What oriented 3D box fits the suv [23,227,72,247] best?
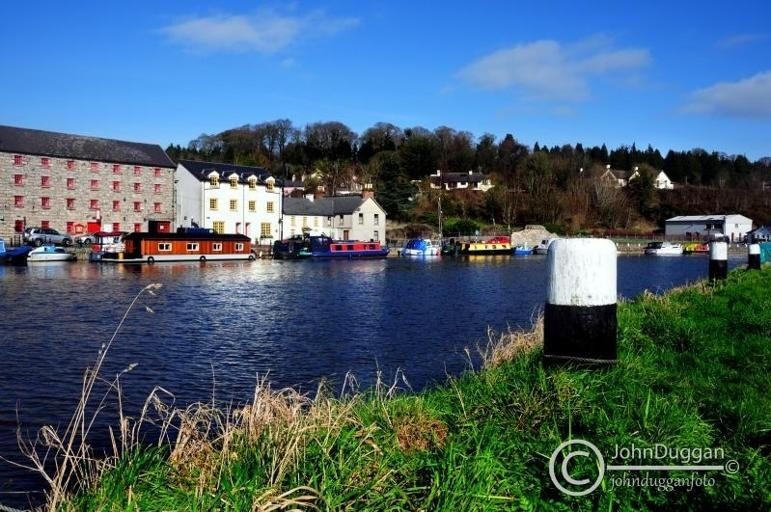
[{"bbox_3d":[-29.174,-1.600,65.308,4.142,1.692,1.911,-4,7,-42],"label":"suv"}]
